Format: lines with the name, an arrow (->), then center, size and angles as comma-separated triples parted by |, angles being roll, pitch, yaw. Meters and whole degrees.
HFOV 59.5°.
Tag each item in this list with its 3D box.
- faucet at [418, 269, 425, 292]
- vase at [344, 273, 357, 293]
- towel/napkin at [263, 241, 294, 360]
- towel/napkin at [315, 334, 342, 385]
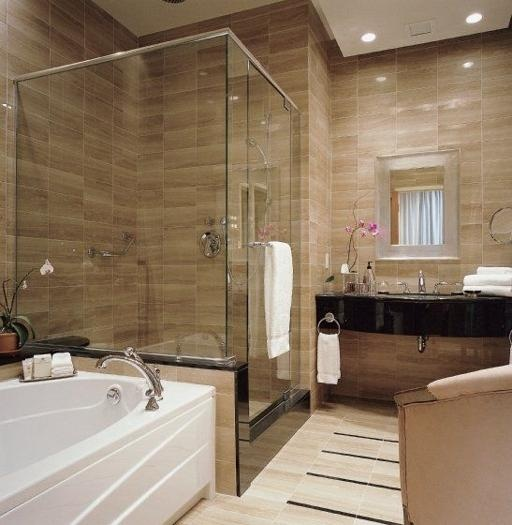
faucet -> 1.307, 0.145, 3.518 | 0.059, 0.173, 0.122 | 1, 2, 18
vase -> 0.738, 0.158, 3.504 | 0.096, 0.149, 0.159 | 1, 2, 12
towel/napkin -> 0.142, 0.245, 2.799 | 0.106, 0.739, 0.377 | 1, 2, 16
towel/napkin -> 0.536, 0.702, 3.304 | 0.199, 0.347, 0.080 | -1, -2, 21
